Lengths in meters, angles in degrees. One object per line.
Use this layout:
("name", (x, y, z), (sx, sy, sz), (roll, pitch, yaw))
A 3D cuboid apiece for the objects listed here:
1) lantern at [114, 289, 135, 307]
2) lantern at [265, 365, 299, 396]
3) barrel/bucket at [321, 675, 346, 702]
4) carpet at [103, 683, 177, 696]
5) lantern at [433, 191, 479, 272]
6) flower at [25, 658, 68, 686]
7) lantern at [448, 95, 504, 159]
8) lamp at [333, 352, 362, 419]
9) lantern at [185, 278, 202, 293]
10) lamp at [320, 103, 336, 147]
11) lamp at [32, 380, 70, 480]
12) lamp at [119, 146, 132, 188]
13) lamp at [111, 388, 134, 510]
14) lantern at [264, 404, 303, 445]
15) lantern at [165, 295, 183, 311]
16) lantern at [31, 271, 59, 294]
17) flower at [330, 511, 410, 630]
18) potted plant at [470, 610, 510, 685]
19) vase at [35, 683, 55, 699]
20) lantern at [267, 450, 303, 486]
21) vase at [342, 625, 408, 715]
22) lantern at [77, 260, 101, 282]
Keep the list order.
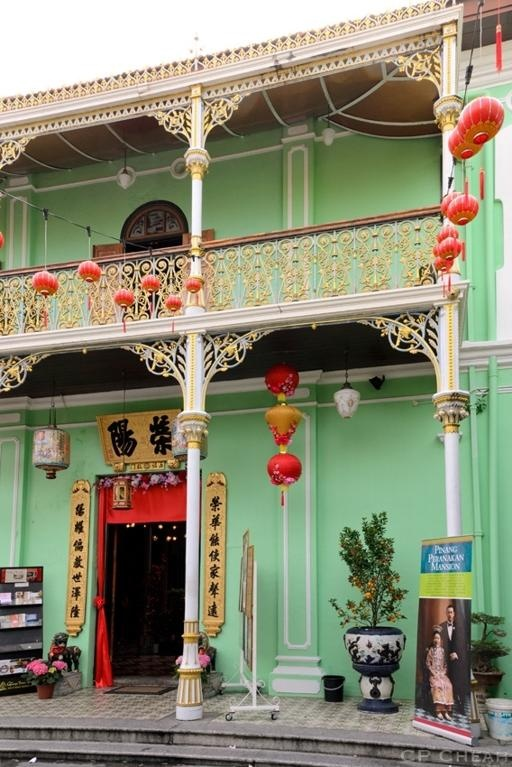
("lantern", (-1.262, -0.815, 9.568), (0.197, 0.151, 0.226), (-7, -12, 23))
("lantern", (0.242, -0.018, 9.880), (0.304, 0.346, 0.300), (-1, -4, -6))
("barrel/bucket", (0.776, 2.986, 9.842), (0.243, 0.199, 0.229), (1, -5, 0))
("carpet", (-1.251, 3.273, 10.734), (0.732, 0.037, 1.080), (-2, -11, 2))
("lantern", (1.604, -1.267, 8.191), (0.279, 0.867, 0.284), (8, 0, -25))
("flower", (-2.203, 2.997, 10.420), (0.280, 0.169, 0.268), (-1, -6, -3))
("lantern", (1.576, -1.739, 6.872), (0.365, 0.416, 0.381), (6, -8, -9))
("lamp", (0.954, 0.047, 10.541), (0.251, 0.659, 0.666), (-3, -11, 7))
("lantern", (-0.604, -0.934, 9.632), (0.136, 0.136, 0.134), (-1, 3, -8))
("lamp", (0.819, -2.914, 11.403), (0.168, 0.345, 0.342), (-3, -11, 4))
("lamp", (-2.329, 0.627, 11.388), (0.386, 1.278, 0.421), (0, -12, -1))
("lamp", (-1.624, -2.609, 12.312), (0.181, 0.408, 0.265), (-2, -11, 3))
("lamp", (-1.473, 0.745, 11.294), (0.283, 1.273, 0.290), (-1, 4, 13))
("lantern", (0.194, 0.409, 9.863), (0.387, 0.448, 0.376), (0, -3, -19))
("lantern", (-0.783, -0.748, 9.634), (0.143, 0.140, 0.141), (-18, -23, 19))
("lantern", (-1.998, -0.965, 9.517), (0.199, 0.205, 0.272), (-6, -12, 19))
("flower", (1.117, 1.835, 9.871), (0.734, 1.281, 0.606), (-1, -7, 5))
("potted plant", (2.197, 2.515, 9.395), (0.344, 0.716, 0.679), (-4, -11, 13))
("vase", (-2.175, 3.162, 10.296), (0.165, 0.120, 0.163), (-2, -11, 3))
("lantern", (0.284, 0.825, 9.751), (0.326, 0.366, 0.335), (0, -1, -12))
("vase", (1.101, 2.646, 9.264), (0.534, 0.709, 0.545), (-2, -14, 11))
("lantern", (-1.590, -1.071, 9.507), (0.189, 0.191, 0.237), (0, -11, -10))
